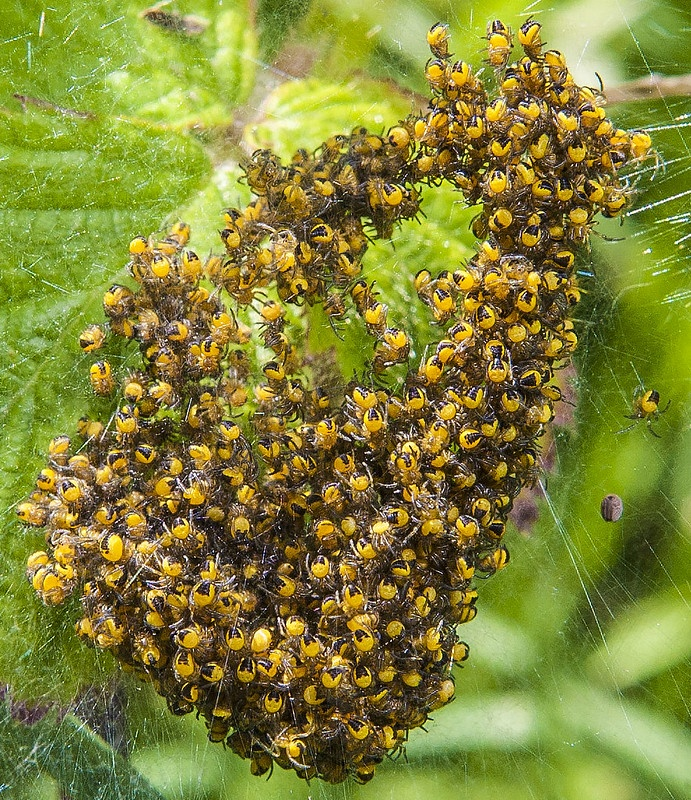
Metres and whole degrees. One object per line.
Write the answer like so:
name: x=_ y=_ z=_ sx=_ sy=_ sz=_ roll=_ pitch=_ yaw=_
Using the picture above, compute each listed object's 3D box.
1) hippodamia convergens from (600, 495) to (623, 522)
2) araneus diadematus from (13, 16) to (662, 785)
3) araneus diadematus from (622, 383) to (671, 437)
hippodamia convergens: x=0.399 y=0.163 z=1.755 sx=0.030 sy=0.039 sz=0.011 roll=2 pitch=-6 yaw=20
araneus diadematus: x=-0.028 y=0.023 z=1.847 sx=1.184 sy=0.751 sz=0.279 roll=-48 pitch=2 yaw=-15
araneus diadematus: x=0.448 y=0.016 z=1.744 sx=0.051 sy=0.071 sz=0.030 roll=11 pitch=26 yaw=9
